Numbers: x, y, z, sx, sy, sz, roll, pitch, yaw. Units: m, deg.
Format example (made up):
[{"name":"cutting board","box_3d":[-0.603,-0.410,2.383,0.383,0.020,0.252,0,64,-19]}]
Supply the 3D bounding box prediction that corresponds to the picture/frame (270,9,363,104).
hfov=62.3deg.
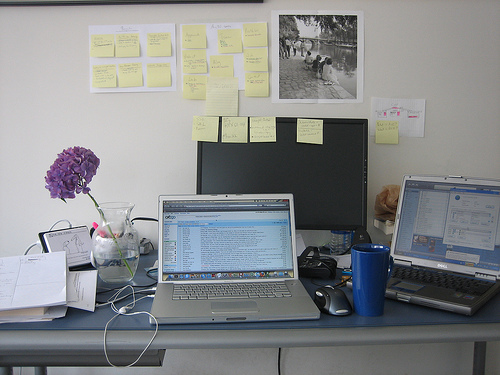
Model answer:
[{"name":"picture/frame","box_3d":[0.292,-0.605,1.859,0.410,0.405,0.019,0,5,-1]}]

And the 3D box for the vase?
[{"name":"vase","box_3d":[-0.506,0.207,1.561,0.186,0.288,0.181,-1,2,29]}]

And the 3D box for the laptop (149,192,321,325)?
[{"name":"laptop","box_3d":[-0.056,0.204,1.320,0.546,0.302,0.515,1,5,5]}]

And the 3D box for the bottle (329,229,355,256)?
[{"name":"bottle","box_3d":[0.382,0.232,1.755,0.098,0.110,0.100,1,-2,1]}]

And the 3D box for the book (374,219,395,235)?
[{"name":"book","box_3d":[0.591,0.170,1.817,0.065,0.028,0.066,-3,8,-13]}]
